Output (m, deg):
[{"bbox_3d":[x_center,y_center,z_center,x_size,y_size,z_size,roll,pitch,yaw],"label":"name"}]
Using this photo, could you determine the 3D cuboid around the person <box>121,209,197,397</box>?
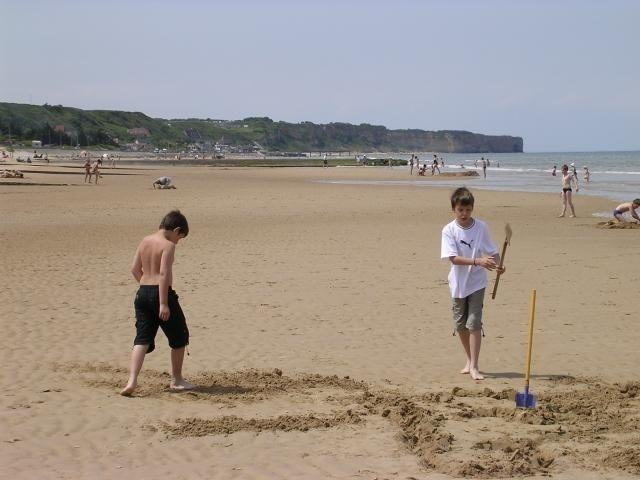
[{"bbox_3d":[-1.833,0.703,8.581,0.728,2.079,0.696,1,12,0],"label":"person"}]
